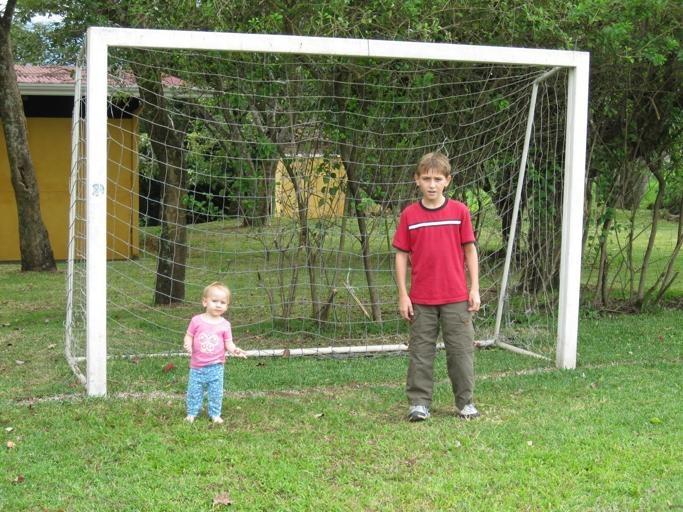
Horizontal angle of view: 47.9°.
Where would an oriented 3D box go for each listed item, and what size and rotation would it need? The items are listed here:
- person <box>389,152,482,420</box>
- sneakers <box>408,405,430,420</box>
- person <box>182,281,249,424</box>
[{"bbox_3d":[0.859,0.271,6.857,0.788,2.335,0.569,0,9,3],"label":"person"},{"bbox_3d":[0.692,1.383,6.800,0.197,0.128,0.148,0,9,0],"label":"sneakers"},{"bbox_3d":[-1.132,0.847,6.756,0.512,1.174,0.384,-2,9,-13],"label":"person"}]
